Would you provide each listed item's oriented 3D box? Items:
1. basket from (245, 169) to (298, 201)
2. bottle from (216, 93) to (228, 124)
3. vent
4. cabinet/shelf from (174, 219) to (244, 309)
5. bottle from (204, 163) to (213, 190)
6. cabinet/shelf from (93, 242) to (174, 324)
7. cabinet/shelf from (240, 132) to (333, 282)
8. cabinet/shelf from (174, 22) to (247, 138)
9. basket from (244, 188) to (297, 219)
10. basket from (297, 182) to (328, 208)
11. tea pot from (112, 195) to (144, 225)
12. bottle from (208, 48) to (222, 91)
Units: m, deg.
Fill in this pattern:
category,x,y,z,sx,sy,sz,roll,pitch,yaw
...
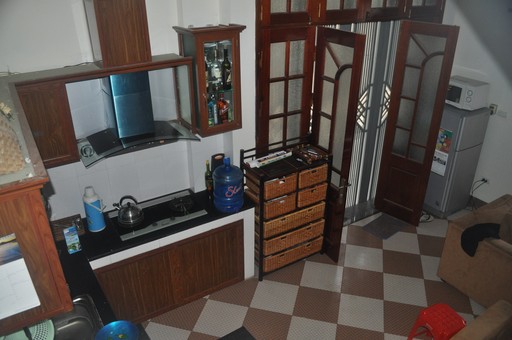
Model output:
category,x,y,z,sx,sy,sz,roll,pitch,yaw
basket,0.169,0.157,4.158,0.486,0.205,0.339,-15,27,-31
bottle,-0.367,-0.676,3.793,0.122,0.371,0.117,0,38,0
vent,-1.189,-0.533,3.470,0.812,0.544,0.413,-17,36,-27
cabinet/shelf,-0.463,1.197,4.242,0.899,0.494,0.861,-22,50,8
bottle,-0.565,0.056,4.205,0.090,0.363,0.164,-6,33,-7
cabinet/shelf,-1.323,1.256,3.910,0.746,0.729,0.424,-15,11,-31
cabinet/shelf,0.333,0.429,4.280,1.343,1.909,0.615,-16,32,-25
cabinet/shelf,-0.502,-0.968,3.653,0.812,1.326,0.554,-17,34,-26
basket,0.195,0.280,4.170,0.479,0.201,0.333,-15,27,-29
basket,0.684,0.320,4.303,0.383,0.228,0.288,-17,34,-21
tea pot,-1.333,0.417,3.800,0.347,0.291,0.258,-2,34,-9
bottle,-0.418,-1.031,3.642,0.152,0.400,0.076,-25,39,-32
